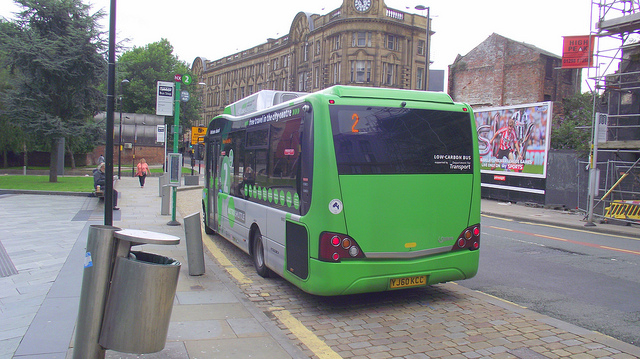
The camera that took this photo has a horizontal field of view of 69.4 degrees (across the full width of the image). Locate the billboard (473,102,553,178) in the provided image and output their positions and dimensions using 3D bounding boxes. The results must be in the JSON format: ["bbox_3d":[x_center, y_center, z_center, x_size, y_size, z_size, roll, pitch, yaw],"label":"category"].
[{"bbox_3d":[11.820,-2.176,29.540,0.277,4.720,7.015,-1,3,-20],"label":"billboard"}]

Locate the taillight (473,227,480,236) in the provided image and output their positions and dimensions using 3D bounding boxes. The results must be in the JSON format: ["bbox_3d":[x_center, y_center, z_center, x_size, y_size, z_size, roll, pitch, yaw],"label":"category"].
[{"bbox_3d":[4.154,1.361,12.262,0.241,0.230,0.038,10,13,-35],"label":"taillight"}]
